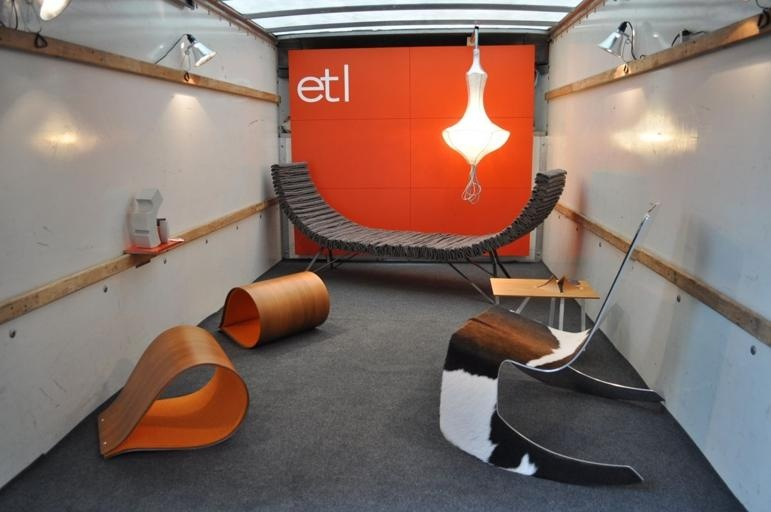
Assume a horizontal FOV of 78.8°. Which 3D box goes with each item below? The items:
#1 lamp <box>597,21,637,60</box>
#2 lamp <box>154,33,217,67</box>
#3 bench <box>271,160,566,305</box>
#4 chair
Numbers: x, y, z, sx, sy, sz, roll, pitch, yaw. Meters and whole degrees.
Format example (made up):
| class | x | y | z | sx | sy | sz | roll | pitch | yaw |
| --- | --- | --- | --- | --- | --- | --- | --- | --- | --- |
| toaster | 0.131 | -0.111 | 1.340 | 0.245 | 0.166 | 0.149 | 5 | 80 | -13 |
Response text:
| class | x | y | z | sx | sy | sz | roll | pitch | yaw |
| --- | --- | --- | --- | --- | --- | --- | --- | --- | --- |
| lamp | 2.035 | -1.855 | 4.091 | 0.295 | 0.331 | 0.290 | 6 | 20 | 14 |
| lamp | -1.804 | -1.909 | 4.398 | 0.364 | 0.269 | 0.688 | 1 | 20 | 0 |
| bench | 0.257 | -0.436 | 6.054 | 3.763 | 1.613 | 1.072 | 6 | 4 | 4 |
| chair | 1.045 | 0.626 | 3.258 | 1.268 | 1.210 | 1.135 | 4 | 19 | 8 |
